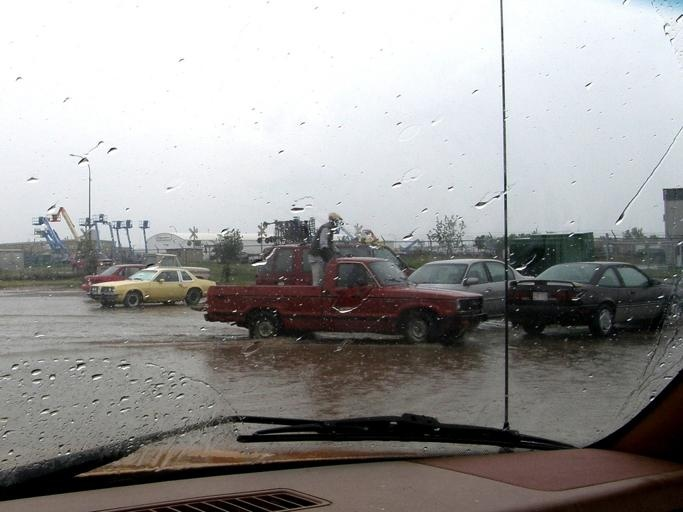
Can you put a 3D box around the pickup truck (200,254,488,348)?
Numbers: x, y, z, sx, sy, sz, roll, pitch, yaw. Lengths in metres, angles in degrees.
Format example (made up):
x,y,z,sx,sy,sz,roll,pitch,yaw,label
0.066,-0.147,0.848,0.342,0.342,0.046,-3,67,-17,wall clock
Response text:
x,y,z,sx,sy,sz,roll,pitch,yaw,label
0.249,0.678,8.039,3.255,0.908,1.462,-2,0,11,pickup truck

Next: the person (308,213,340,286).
x,y,z,sx,sy,sz,roll,pitch,yaw,label
-0.197,-0.028,6.596,0.295,0.275,0.738,-3,-27,-4,person

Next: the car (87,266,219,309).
x,y,z,sx,sy,sz,roll,pitch,yaw,label
-4.480,0.680,11.964,2.914,0.758,1.513,3,-4,-35,car

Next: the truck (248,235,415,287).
x,y,z,sx,sy,sz,roll,pitch,yaw,label
-0.355,0.108,9.496,1.859,0.742,1.024,-2,1,4,truck

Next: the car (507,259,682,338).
x,y,z,sx,sy,sz,roll,pitch,yaw,label
2.618,0.504,6.408,2.201,0.608,0.938,-5,4,-34,car
